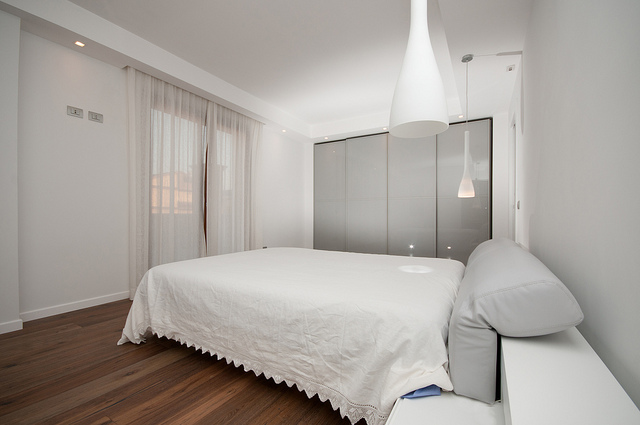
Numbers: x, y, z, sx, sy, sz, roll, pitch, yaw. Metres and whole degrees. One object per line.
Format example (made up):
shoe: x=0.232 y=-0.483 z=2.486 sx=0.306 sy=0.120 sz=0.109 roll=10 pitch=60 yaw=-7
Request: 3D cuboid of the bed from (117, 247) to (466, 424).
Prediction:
bed: x=-0.129 y=0.982 z=3.523 sx=2.623 sy=1.002 sz=1.087 roll=0 pitch=3 yaw=26

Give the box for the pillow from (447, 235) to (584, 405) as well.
pillow: x=1.642 y=0.824 z=3.554 sx=0.738 sy=1.009 sz=2.281 roll=0 pitch=2 yaw=22

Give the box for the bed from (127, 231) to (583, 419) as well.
bed: x=0.229 y=0.891 z=3.307 sx=3.272 sy=1.130 sz=1.067 roll=0 pitch=3 yaw=26
